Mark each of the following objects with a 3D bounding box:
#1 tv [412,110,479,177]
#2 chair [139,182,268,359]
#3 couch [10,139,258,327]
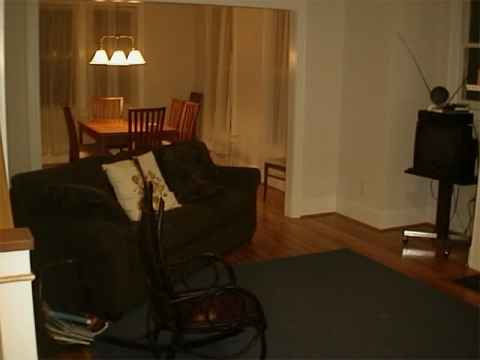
[{"bbox_3d":[1.737,-0.302,3.620,0.542,0.557,0.531,5,6,29],"label":"tv"},{"bbox_3d":[-0.302,0.454,2.569,0.710,1.062,1.133,-7,15,-15],"label":"chair"},{"bbox_3d":[-0.738,0.269,3.593,0.952,1.017,2.038,-2,9,30],"label":"couch"}]
